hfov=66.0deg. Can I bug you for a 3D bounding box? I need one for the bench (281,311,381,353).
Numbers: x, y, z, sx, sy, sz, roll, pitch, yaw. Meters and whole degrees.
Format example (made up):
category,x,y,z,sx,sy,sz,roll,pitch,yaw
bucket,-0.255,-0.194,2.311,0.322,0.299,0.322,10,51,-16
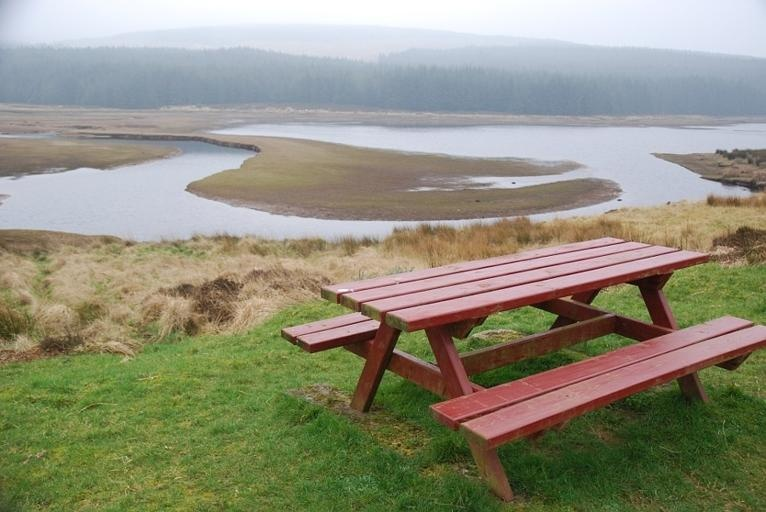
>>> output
category,x,y,z,sx,sy,sz,roll,pitch,yaw
bench,-0.543,0.824,6.394,0.941,0.091,0.469,-13,18,-31
